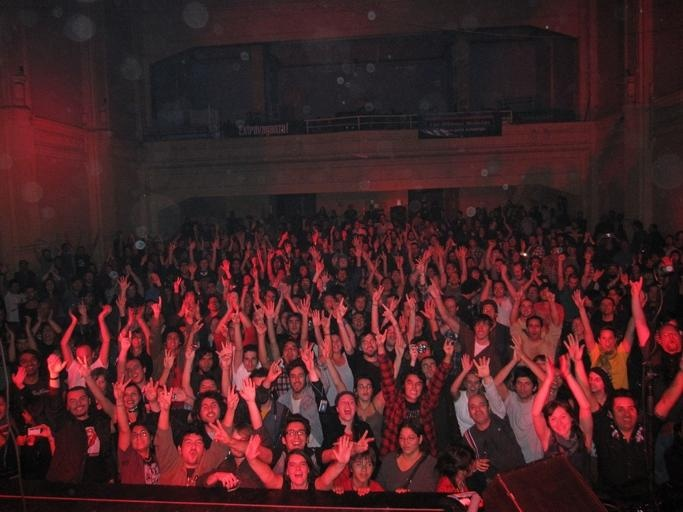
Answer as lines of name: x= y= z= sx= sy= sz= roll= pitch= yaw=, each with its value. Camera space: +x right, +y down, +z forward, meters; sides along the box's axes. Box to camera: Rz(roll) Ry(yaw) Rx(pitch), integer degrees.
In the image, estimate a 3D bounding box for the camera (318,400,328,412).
camera: x=-0.243 y=2.064 z=9.092 sx=0.104 sy=0.040 sz=0.165 roll=8 pitch=49 yaw=6
